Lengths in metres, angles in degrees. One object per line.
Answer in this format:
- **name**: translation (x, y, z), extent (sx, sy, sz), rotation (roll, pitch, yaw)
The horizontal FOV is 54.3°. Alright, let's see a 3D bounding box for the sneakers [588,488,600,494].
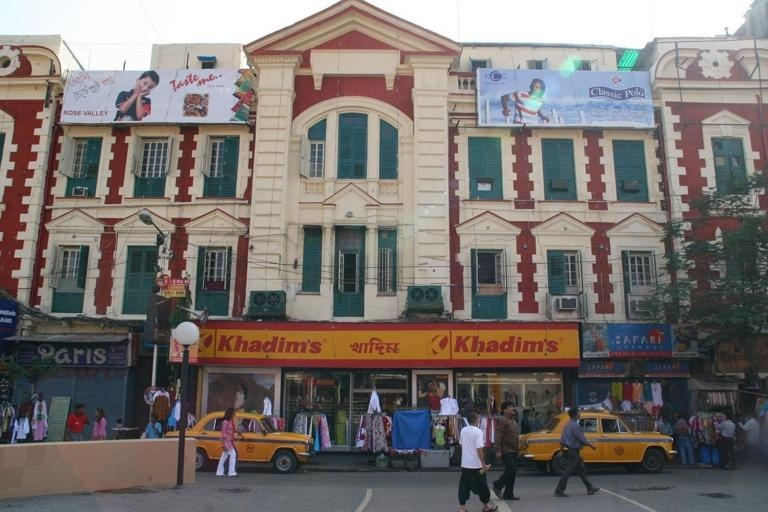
- **sneakers**: translation (7.158, 7.952, 25.410), extent (0.480, 0.192, 0.168), rotation (-2, -5, -25)

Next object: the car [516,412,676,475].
- **car**: translation (8.312, 7.467, 30.140), extent (5.988, 2.023, 2.509), rotation (0, -9, -4)

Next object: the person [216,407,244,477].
- **person**: translation (-6.019, 7.118, 28.809), extent (0.731, 2.508, 1.165), rotation (1, -11, -10)

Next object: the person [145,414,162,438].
- **person**: translation (-9.787, 7.172, 31.567), extent (0.531, 0.846, 0.973), rotation (-3, -11, 14)

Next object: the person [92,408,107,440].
- **person**: translation (-11.742, 6.896, 30.883), extent (0.459, 1.226, 0.818), rotation (5, -12, -26)

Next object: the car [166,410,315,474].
- **car**: translation (-5.452, 7.424, 30.187), extent (5.121, 1.785, 2.437), rotation (0, -9, -4)

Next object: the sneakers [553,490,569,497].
- **sneakers**: translation (6.038, 7.960, 25.174), extent (0.577, 0.214, 0.180), rotation (2, -4, -9)
